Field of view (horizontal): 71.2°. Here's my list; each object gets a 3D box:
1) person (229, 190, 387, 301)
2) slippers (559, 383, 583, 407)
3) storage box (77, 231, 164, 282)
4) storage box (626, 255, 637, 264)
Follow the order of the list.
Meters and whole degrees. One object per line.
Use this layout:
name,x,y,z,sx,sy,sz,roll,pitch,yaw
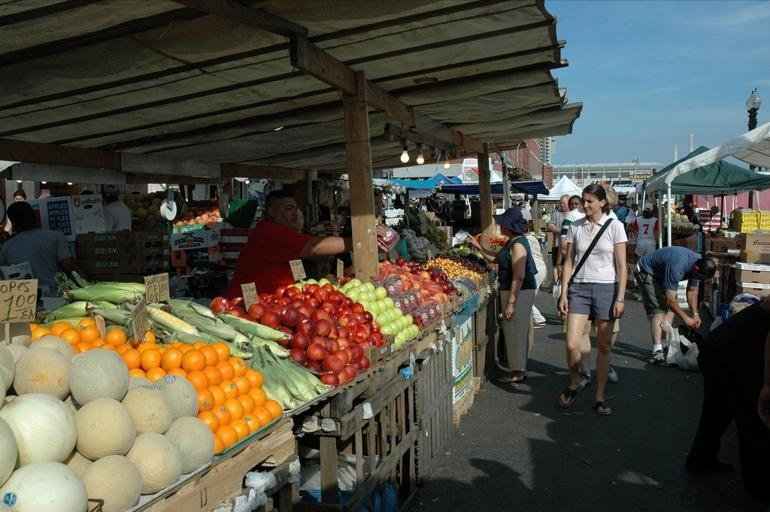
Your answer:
person,-1.021,0.365,5.781,1.440,1.822,0.791,7,6,-19
slippers,2.411,1.802,6.967,0.164,0.116,0.503,-2,8,33
storage box,-3.656,-0.131,7.581,1.209,0.676,0.807,0,5,-4
storage box,7.718,0.106,16.743,0.279,0.242,0.152,-5,8,-40
